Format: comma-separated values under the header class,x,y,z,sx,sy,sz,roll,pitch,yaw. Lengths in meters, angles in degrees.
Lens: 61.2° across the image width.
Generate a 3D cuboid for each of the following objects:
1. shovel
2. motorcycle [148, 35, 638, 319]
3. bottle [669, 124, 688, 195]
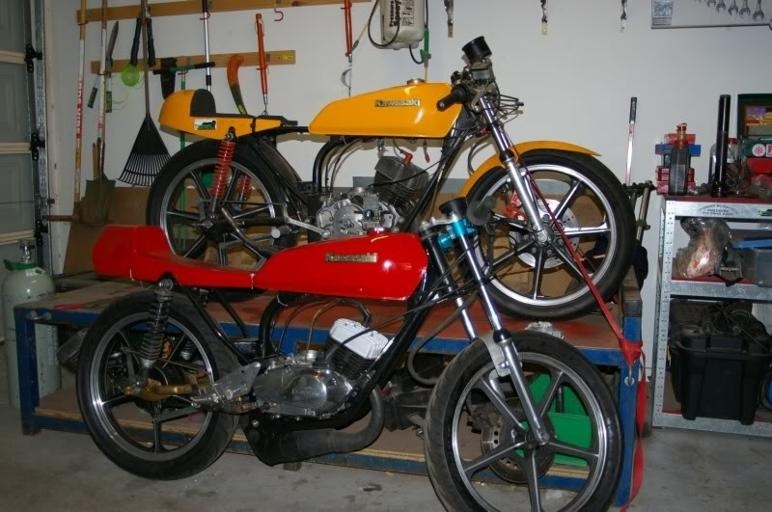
class,x,y,z,sx,sy,sz,roll,pitch,yaw
shovel,-2.334,-1.154,5.268,0.280,1.805,0.389,-4,10,-41
motorcycle,-0.241,-0.414,4.501,3.525,2.034,1.463,2,5,14
bottle,1.987,-0.637,4.426,0.143,0.525,0.113,3,-5,34
